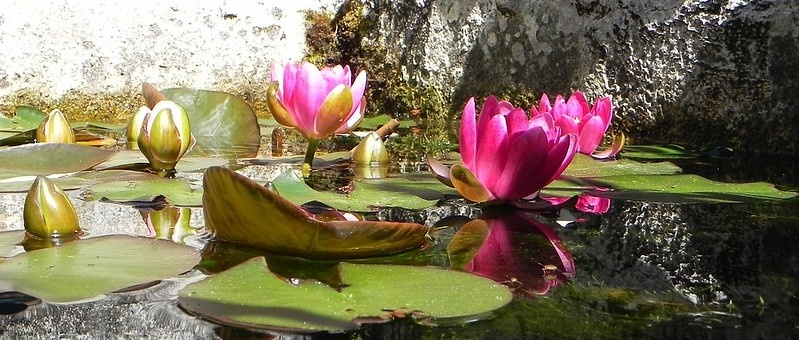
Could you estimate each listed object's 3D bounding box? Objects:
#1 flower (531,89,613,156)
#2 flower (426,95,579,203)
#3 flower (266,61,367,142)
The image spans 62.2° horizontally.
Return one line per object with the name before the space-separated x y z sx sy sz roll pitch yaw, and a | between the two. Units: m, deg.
flower | 1.095 -0.291 4.162 0.433 0.218 0.519 -2 9 -17
flower | 0.512 -0.095 3.658 0.844 0.415 0.784 -1 19 -17
flower | -0.515 -0.398 3.754 0.493 0.292 0.350 -8 2 14
